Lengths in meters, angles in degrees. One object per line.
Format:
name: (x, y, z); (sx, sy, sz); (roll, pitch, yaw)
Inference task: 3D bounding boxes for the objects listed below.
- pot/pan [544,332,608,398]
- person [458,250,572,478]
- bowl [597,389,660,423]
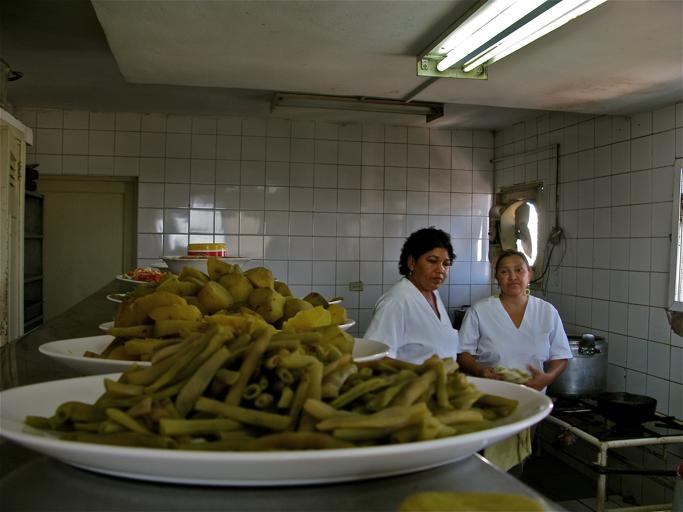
pot/pan: (1.522, 0.707, 3.367); (0.388, 0.398, 0.504); (1, -2, 20)
person: (0.888, 0.719, 2.754); (0.640, 1.358, 0.497); (5, 16, 15)
bowl: (1.543, 0.804, 2.798); (0.260, 0.118, 0.337); (3, 9, 33)
